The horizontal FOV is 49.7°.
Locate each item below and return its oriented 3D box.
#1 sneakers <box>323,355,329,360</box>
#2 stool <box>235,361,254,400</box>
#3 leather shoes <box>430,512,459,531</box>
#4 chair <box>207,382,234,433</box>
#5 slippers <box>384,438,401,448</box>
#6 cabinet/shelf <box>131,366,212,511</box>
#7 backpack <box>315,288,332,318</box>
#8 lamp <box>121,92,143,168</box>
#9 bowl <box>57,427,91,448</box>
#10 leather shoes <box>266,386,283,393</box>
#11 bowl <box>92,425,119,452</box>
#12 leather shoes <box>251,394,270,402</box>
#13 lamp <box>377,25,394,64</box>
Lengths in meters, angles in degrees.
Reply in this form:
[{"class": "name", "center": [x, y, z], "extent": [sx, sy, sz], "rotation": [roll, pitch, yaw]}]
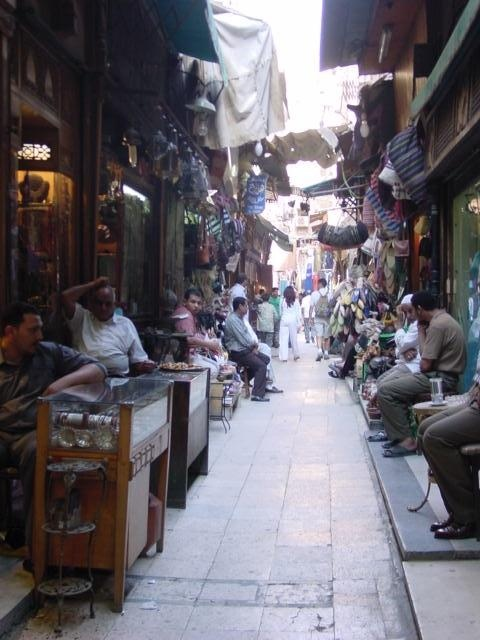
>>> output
[{"class": "sneakers", "center": [2.330, 0.995, 13.973], "extent": [0.071, 0.128, 0.153], "rotation": [-1, -10, 1]}, {"class": "stool", "center": [0.086, 0.997, 8.730], "extent": [0.341, 0.772, 0.453], "rotation": [-1, -2, 1]}, {"class": "leather shoes", "center": [1.044, 1.031, 2.660], "extent": [0.139, 0.091, 0.057], "rotation": [-2, -4, -13]}, {"class": "chair", "center": [-0.268, 1.086, 6.641], "extent": [0.193, 0.530, 0.553], "rotation": [-2, -10, -2]}, {"class": "slippers", "center": [1.393, 1.121, 4.723], "extent": [0.143, 0.087, 0.060], "rotation": [-4, 0, 16]}, {"class": "cabinet/shelf", "center": [-0.428, 0.734, 3.252], "extent": [0.242, 0.826, 0.793], "rotation": [1, 5, 5]}, {"class": "backpack", "center": [2.245, -0.340, 14.085], "extent": [0.302, 0.710, 0.565], "rotation": [2, -15, 2]}, {"class": "lamp", "center": [-1.084, -1.810, 5.181], "extent": [0.147, 0.516, 0.176], "rotation": [-1, 1, 27]}, {"class": "bowl", "center": [-0.676, 0.480, 2.122], "extent": [0.092, 0.104, 0.028], "rotation": [1, 10, 13]}, {"class": "leather shoes", "center": [0.585, 1.194, 9.010], "extent": [0.265, 0.166, 0.123], "rotation": [1, 2, 10]}, {"class": "bowl", "center": [-0.543, 0.476, 2.092], "extent": [0.101, 0.104, 0.020], "rotation": [-3, -2, 17]}, {"class": "leather shoes", "center": [0.310, 1.243, 8.283], "extent": [0.262, 0.174, 0.121], "rotation": [-1, -1, 6]}, {"class": "lamp", "center": [2.095, -4.001, 7.469], "extent": [0.079, 0.735, 0.146], "rotation": [8, -24, -8]}]
